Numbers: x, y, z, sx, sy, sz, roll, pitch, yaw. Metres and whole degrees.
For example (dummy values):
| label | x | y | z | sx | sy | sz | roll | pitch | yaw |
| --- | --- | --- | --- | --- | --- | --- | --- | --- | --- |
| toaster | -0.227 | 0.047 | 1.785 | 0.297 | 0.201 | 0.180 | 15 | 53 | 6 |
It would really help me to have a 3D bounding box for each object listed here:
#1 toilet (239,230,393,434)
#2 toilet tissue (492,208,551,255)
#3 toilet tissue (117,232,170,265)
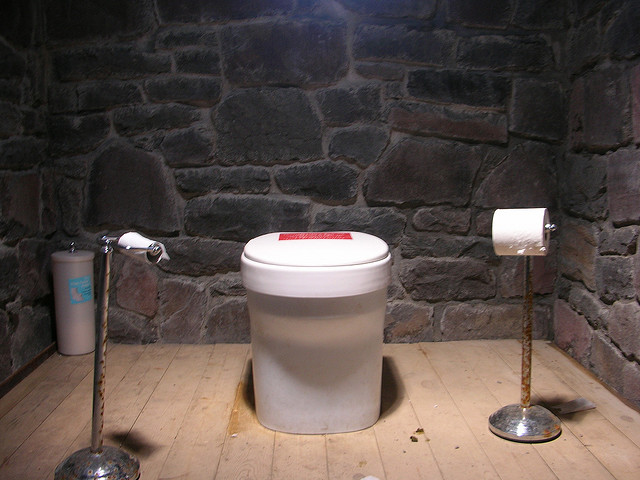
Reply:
| label | x | y | z | sx | sy | sz | roll | pitch | yaw |
| --- | --- | --- | --- | --- | --- | --- | --- | --- | --- |
| toilet | -0.010 | 0.294 | 1.926 | 0.576 | 0.671 | 0.584 | 0 | 9 | 1 |
| toilet tissue | 0.631 | -0.037 | 1.634 | 0.170 | 0.156 | 0.139 | -1 | 10 | 29 |
| toilet tissue | -0.508 | 0.026 | 1.509 | 0.134 | 0.095 | 0.090 | 8 | 17 | 31 |
